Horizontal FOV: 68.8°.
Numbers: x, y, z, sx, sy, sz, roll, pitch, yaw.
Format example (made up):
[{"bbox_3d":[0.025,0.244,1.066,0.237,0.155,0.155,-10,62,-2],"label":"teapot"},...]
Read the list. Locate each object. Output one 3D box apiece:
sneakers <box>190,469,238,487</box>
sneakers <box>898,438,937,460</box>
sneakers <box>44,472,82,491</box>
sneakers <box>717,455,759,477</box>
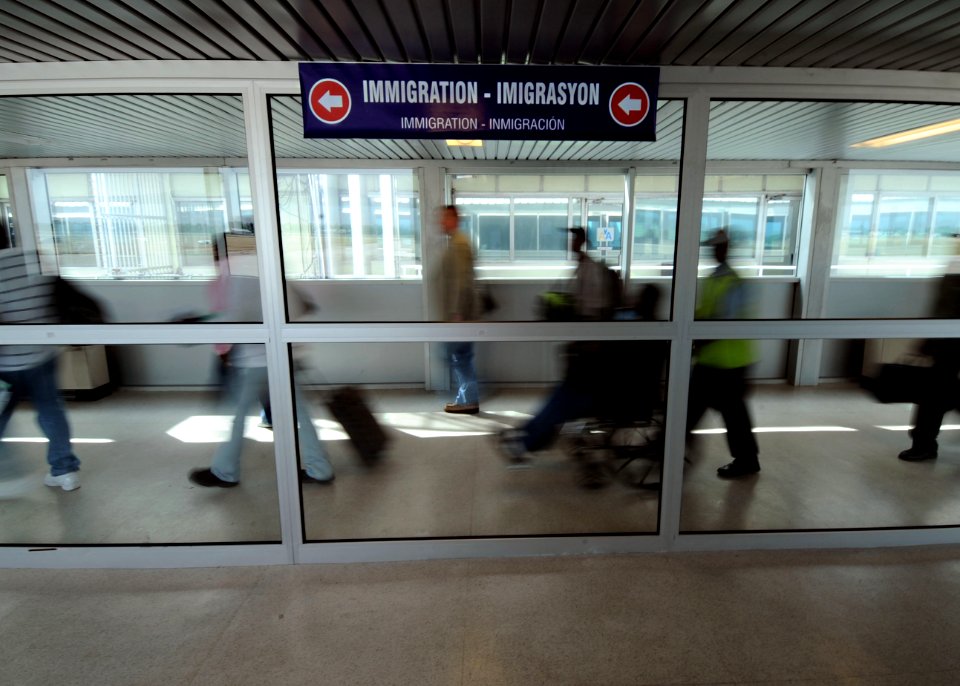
[{"bbox_3d":[-2.169,1.105,5.670,0.335,0.086,0.191,8,-7,1],"label":"sneakers"},{"bbox_3d":[3.740,0.904,6.109,0.363,0.253,0.147,-4,17,23],"label":"sneakers"},{"bbox_3d":[-3.321,1.108,5.608,0.334,0.101,0.117,6,4,26],"label":"sneakers"},{"bbox_3d":[2.126,1.023,5.864,0.419,0.199,0.137,0,11,10],"label":"sneakers"}]
